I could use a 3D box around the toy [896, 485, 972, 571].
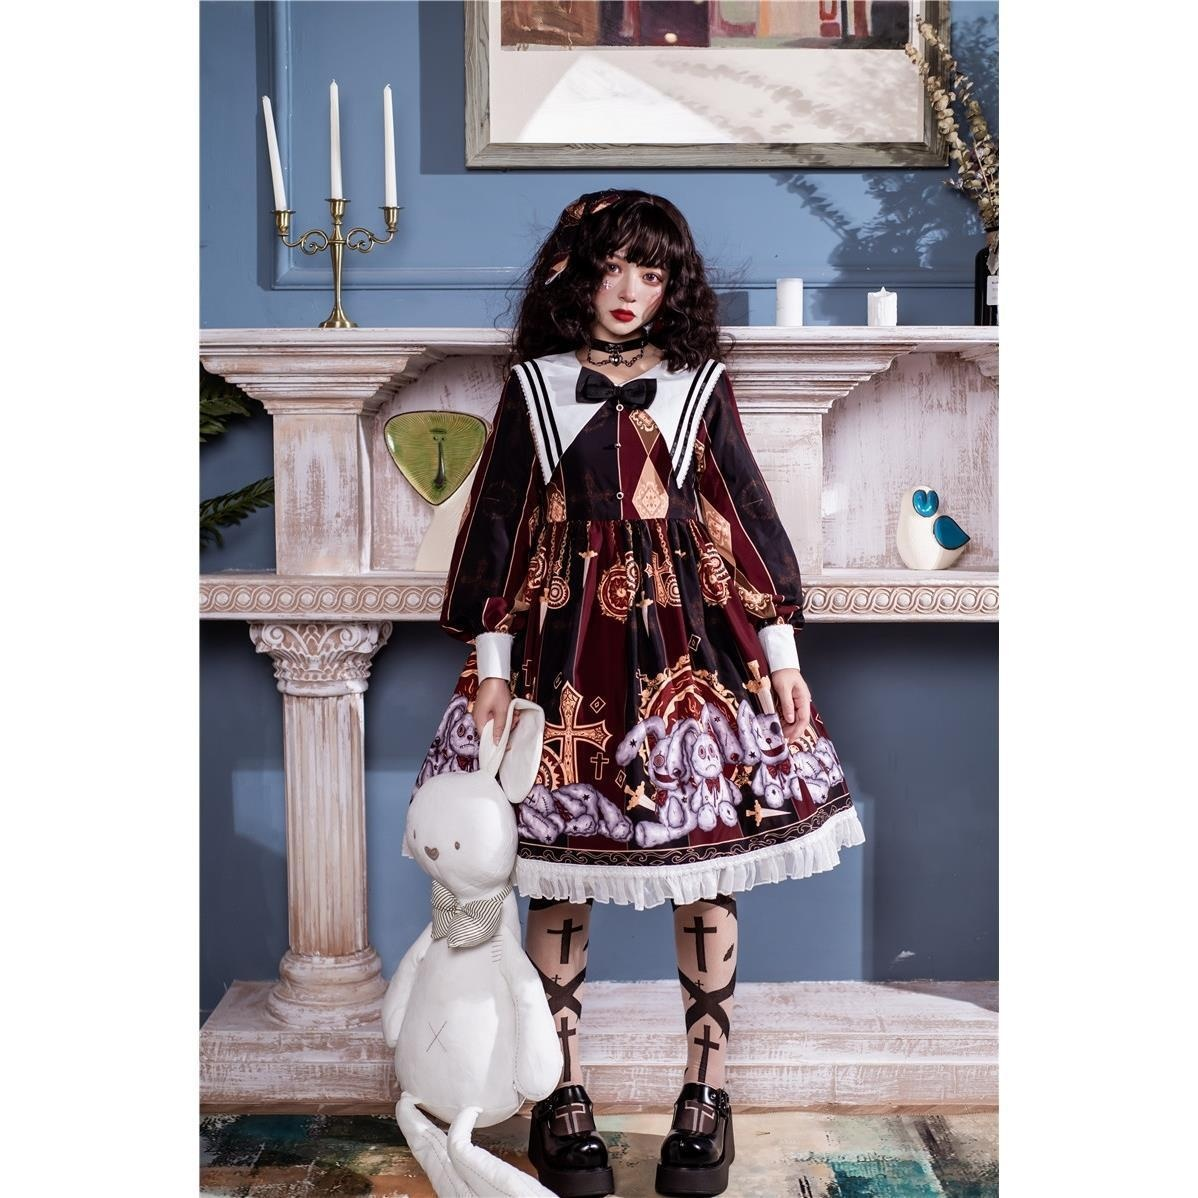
[{"bbox_3d":[0.640,-0.131,4.347,0.114,0.154,0.125,-3,4,-23],"label":"toy"}]

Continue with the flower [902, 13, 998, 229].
[{"bbox_3d":[0.665,-0.891,4.286,0.167,0.418,0.224,-1,3,9],"label":"flower"}]

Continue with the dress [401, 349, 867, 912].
[{"bbox_3d":[0.049,0.032,3.936,1.021,1.139,0.636,-1,-8,2],"label":"dress"}]

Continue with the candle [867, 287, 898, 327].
[{"bbox_3d":[0.526,-0.536,4.225,0.052,0.067,0.124,-1,3,6],"label":"candle"}]

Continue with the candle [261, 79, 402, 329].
[{"bbox_3d":[-0.492,-0.736,4.260,0.256,0.487,0.335,-2,3,-8],"label":"candle"}]

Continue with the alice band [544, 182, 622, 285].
[{"bbox_3d":[-0.032,-0.618,4.001,0.045,0.218,0.065,5,30,-43],"label":"alice band"}]
